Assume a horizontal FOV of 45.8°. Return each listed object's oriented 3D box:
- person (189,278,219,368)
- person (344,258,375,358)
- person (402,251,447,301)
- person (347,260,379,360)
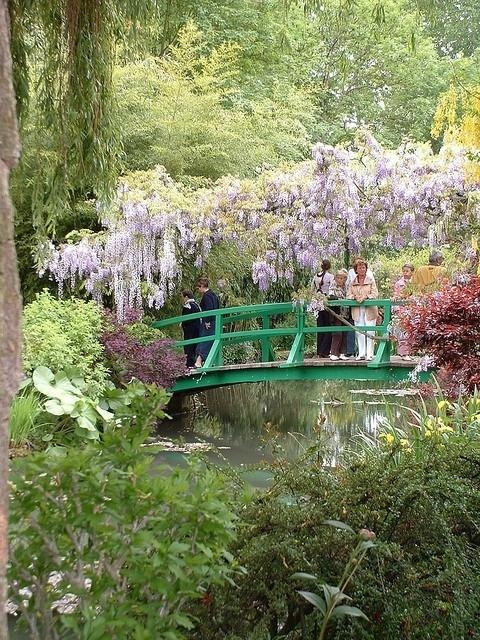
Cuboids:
[{"bbox_3d":[-0.563,0.033,9.671,0.347,1.550,0.833,3,7,-5],"label":"person"},{"bbox_3d":[1.737,-0.159,8.073,0.404,1.456,0.429,-3,-6,23],"label":"person"},{"bbox_3d":[2.193,-0.539,6.782,0.441,0.613,1.432,6,8,15],"label":"person"},{"bbox_3d":[1.750,-0.162,8.074,0.355,1.466,0.439,-1,-11,3],"label":"person"}]
